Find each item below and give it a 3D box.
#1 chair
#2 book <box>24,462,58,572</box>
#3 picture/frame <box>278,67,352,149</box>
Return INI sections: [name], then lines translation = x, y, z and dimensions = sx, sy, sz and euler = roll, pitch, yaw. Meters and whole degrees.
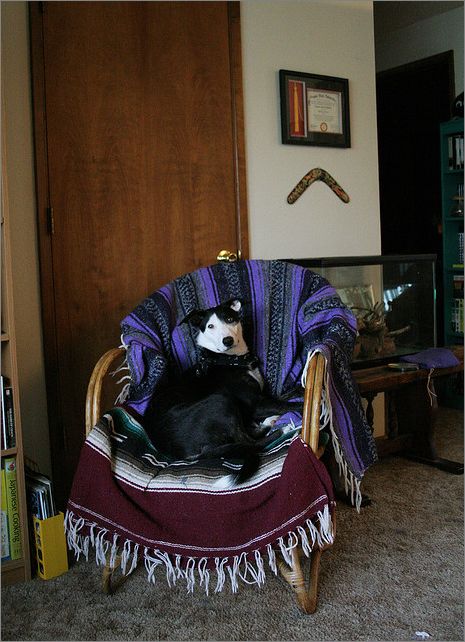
[chair]
translation = -0.010, 0.225, 1.652
dimensions = 0.761, 0.851, 1.069
euler = 4, 3, 17
[book]
translation = -0.661, 0.685, 1.761
dimensions = 0.091, 0.327, 0.286
euler = -4, 1, -25
[picture/frame]
translation = 0.427, -1.146, 2.756
dimensions = 0.424, 0.422, 0.031
euler = -3, 3, -34
